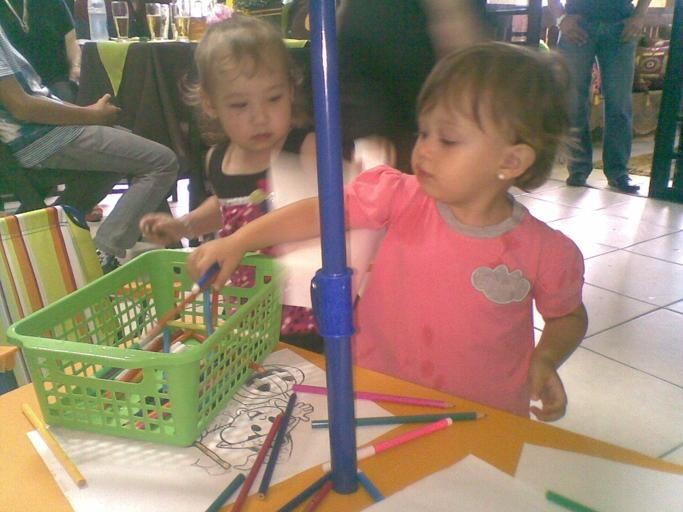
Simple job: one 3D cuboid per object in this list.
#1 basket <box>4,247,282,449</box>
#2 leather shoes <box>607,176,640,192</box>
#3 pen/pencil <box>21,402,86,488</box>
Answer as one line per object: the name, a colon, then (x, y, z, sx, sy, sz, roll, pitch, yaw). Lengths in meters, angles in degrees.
basket: (-0.218, 0.045, 0.702, 0.218, 0.111, 0.301, 6, 19, 19)
leather shoes: (0.997, -0.257, 2.052, 0.111, 0.049, 0.042, 11, 42, 11)
pen/pencil: (-0.312, 0.207, 0.628, 0.106, 0.014, 0.015, 43, -1, 31)
